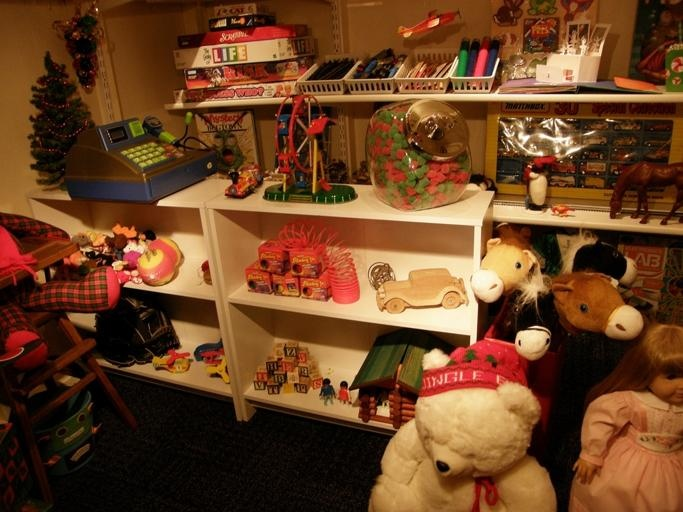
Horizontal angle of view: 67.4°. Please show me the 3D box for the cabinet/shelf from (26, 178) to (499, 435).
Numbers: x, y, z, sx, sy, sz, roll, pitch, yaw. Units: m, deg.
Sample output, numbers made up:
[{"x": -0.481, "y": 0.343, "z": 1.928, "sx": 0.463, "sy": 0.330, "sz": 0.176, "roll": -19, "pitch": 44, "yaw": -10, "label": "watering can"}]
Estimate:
[{"x": -0.061, "y": 0.196, "z": 2.535, "sx": 2.280, "sy": 1.172, "sz": 0.905, "roll": 8, "pitch": 24, "yaw": 22, "label": "cabinet/shelf"}]
